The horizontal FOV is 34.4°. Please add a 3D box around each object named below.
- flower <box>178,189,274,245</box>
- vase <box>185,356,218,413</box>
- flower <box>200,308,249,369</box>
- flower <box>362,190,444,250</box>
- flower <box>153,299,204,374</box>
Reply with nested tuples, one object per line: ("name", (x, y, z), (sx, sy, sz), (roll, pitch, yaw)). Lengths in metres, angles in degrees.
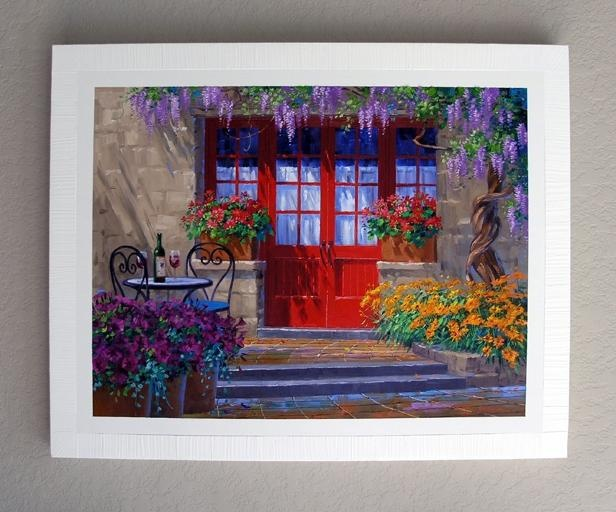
("flower", (-0.457, -0.198, 5.149), (0.307, 0.214, 0.414), (-26, -9, 35))
("vase", (-0.385, 0.488, 3.613), (0.117, 0.143, 0.131), (1, -26, -1))
("flower", (-0.323, 0.348, 3.767), (0.193, 0.175, 0.253), (5, -4, 8))
("flower", (0.455, -0.211, 4.830), (0.284, 0.166, 0.321), (5, -11, 8))
("flower", (-0.480, 0.301, 3.663), (0.192, 0.241, 0.133), (2, -14, -15))
